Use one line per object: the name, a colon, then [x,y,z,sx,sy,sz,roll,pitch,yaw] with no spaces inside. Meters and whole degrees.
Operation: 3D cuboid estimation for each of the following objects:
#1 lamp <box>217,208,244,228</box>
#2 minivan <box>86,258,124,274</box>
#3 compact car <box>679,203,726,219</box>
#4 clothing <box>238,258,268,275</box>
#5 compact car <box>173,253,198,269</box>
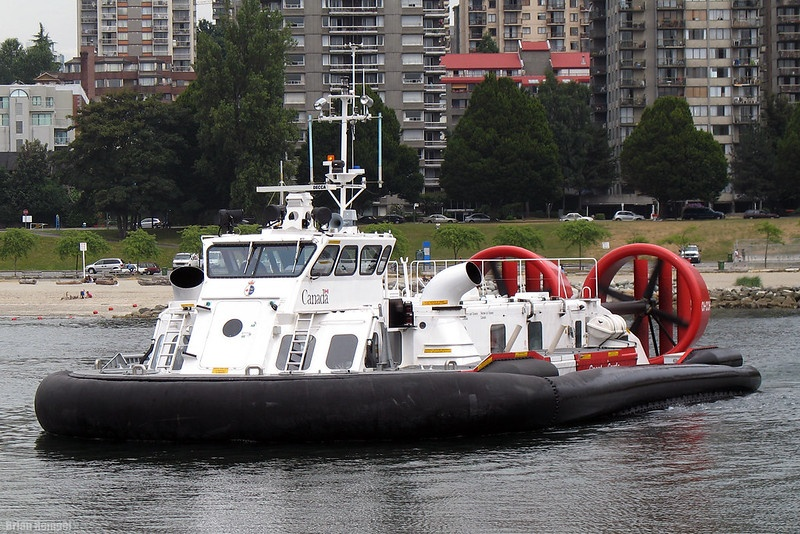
lamp: [-7.705,-2.300,81.756,1.064,0.834,0.795,2,4,4]
minivan: [-19.227,-0.076,117.165,2.042,0.840,1.089,3,2,5]
compact car: [22.599,-4.043,132.977,2.860,1.001,1.540,0,3,18]
clothing: [-6.508,-0.071,80.793,0.800,1.078,0.375,-3,2,4]
compact car: [-12.323,-0.408,103.650,1.031,0.866,1.733,-1,-9,3]
